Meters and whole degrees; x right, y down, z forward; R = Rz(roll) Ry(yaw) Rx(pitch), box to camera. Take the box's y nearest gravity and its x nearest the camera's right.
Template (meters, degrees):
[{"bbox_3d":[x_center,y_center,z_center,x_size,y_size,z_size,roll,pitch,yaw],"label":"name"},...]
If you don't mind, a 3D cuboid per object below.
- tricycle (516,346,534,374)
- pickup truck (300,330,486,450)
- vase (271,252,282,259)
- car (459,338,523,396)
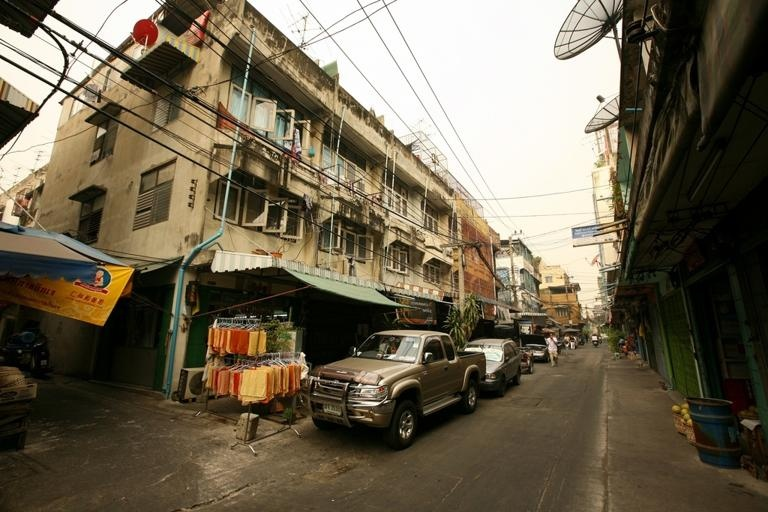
[{"bbox_3d":[6.999,5.225,23.934,1.200,0.982,2.255,-9,-24,20],"label":"tricycle"},{"bbox_3d":[0.649,3.445,13.640,3.160,2.558,5.936,-3,-5,41],"label":"pickup truck"},{"bbox_3d":[-3.662,-0.025,16.184,0.380,0.148,0.326,-6,-8,23],"label":"vase"},{"bbox_3d":[4.069,4.018,17.638,1.276,1.135,2.872,-7,-18,24],"label":"car"}]
